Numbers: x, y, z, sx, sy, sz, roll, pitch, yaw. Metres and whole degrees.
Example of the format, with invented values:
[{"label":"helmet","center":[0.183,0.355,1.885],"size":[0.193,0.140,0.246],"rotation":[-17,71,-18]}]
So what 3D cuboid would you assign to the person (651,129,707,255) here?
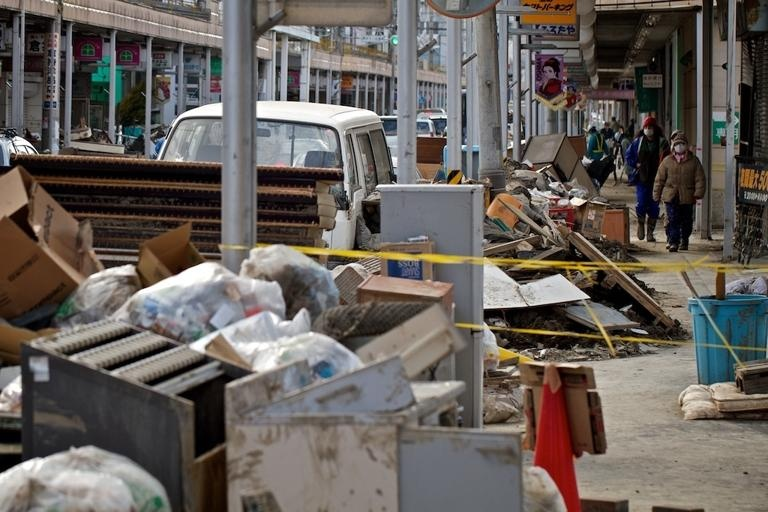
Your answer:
[{"label":"person","center":[5.604,-1.220,19.487],"size":[0.898,2.243,1.026],"rotation":[-1,4,6]}]

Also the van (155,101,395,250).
[{"label":"van","center":[-1.005,-1.079,12.947],"size":[1.599,1.606,2.647],"rotation":[0,-1,11]}]

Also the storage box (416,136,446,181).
[{"label":"storage box","center":[1.345,-2.891,28.981],"size":[0.784,1.085,1.475],"rotation":[-2,4,3]}]

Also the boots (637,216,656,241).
[{"label":"boots","center":[5.675,-0.578,22.218],"size":[0.456,0.632,0.533],"rotation":[3,-8,2]}]

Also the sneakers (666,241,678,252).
[{"label":"sneakers","center":[5.516,-0.200,19.647],"size":[0.141,0.177,0.420],"rotation":[2,-5,7]}]

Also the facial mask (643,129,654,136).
[{"label":"facial mask","center":[5.784,-2.730,22.431],"size":[0.154,0.139,0.162],"rotation":[1,-16,27]}]

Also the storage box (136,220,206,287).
[{"label":"storage box","center":[-1.882,-0.024,8.951],"size":[0.443,0.501,0.726],"rotation":[-1,4,9]}]

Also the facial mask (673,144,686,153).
[{"label":"facial mask","center":[5.505,-2.017,19.074],"size":[0.151,0.145,0.160],"rotation":[2,-1,6]}]
